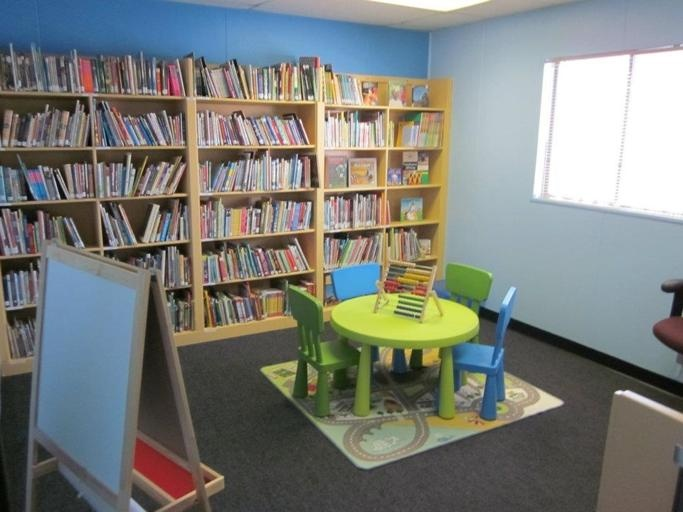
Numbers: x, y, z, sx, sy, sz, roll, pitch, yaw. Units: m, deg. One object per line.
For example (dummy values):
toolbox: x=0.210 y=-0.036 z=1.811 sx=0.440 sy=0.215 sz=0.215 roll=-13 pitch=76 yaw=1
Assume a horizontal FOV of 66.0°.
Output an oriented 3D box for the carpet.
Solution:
carpet: x=0.559 y=1.158 z=4.323 sx=2.262 sy=0.137 sz=1.438 roll=-5 pitch=14 yaw=-13
